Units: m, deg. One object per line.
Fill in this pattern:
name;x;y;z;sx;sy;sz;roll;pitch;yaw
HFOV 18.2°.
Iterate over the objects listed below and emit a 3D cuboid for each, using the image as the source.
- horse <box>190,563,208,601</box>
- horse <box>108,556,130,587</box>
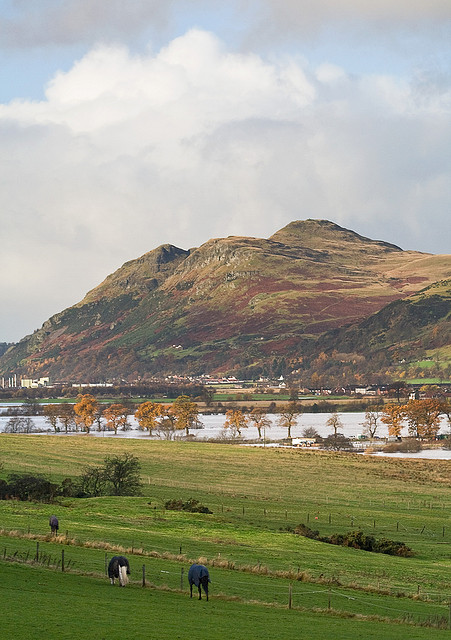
horse;-1.951;15.578;84.156;1.075;2.089;2.038;-3;0;-2
horse;-6.869;15.044;85.014;1.305;1.777;0.700;-2;1;32
